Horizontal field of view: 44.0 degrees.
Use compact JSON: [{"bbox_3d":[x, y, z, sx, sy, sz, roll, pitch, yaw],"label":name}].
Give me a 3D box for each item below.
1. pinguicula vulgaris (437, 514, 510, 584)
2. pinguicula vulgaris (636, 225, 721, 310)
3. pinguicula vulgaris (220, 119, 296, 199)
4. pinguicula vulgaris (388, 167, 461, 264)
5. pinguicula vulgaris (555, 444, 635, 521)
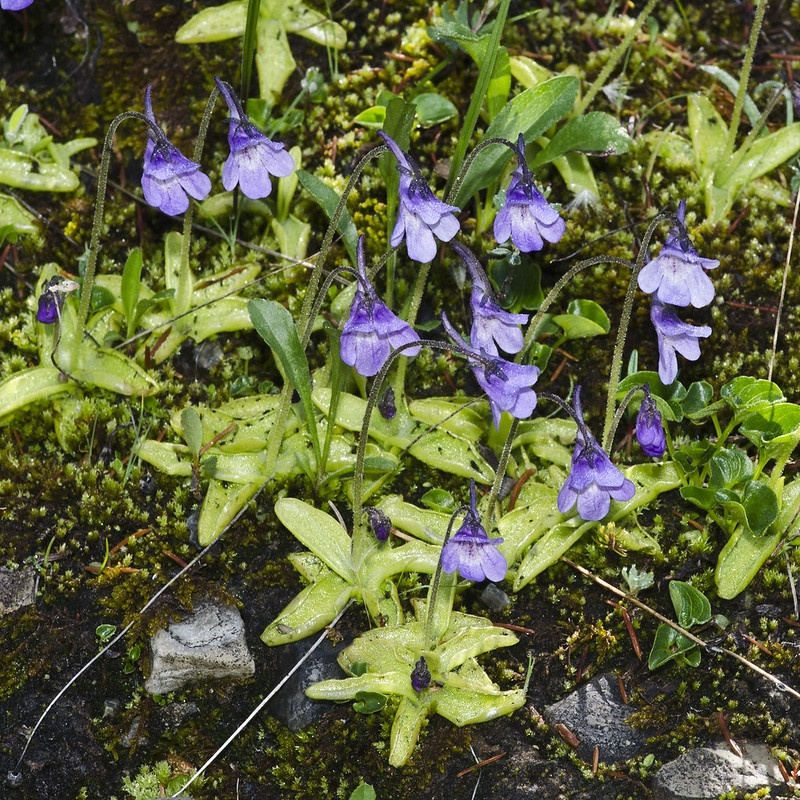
[{"bbox_3d":[0.252,0.534,3.512,0.179,0.107,0.331,-1,92,5],"label":"pinguicula vulgaris"},{"bbox_3d":[0.985,-0.446,3.514,0.271,0.306,0.208,19,50,7],"label":"pinguicula vulgaris"},{"bbox_3d":[-0.500,-0.829,3.466,0.241,0.204,0.186,14,50,2],"label":"pinguicula vulgaris"},{"bbox_3d":[0.073,-0.692,3.257,0.191,0.366,0.270,8,43,22],"label":"pinguicula vulgaris"},{"bbox_3d":[0.687,0.282,3.448,0.273,0.278,0.188,-10,52,-16],"label":"pinguicula vulgaris"}]
